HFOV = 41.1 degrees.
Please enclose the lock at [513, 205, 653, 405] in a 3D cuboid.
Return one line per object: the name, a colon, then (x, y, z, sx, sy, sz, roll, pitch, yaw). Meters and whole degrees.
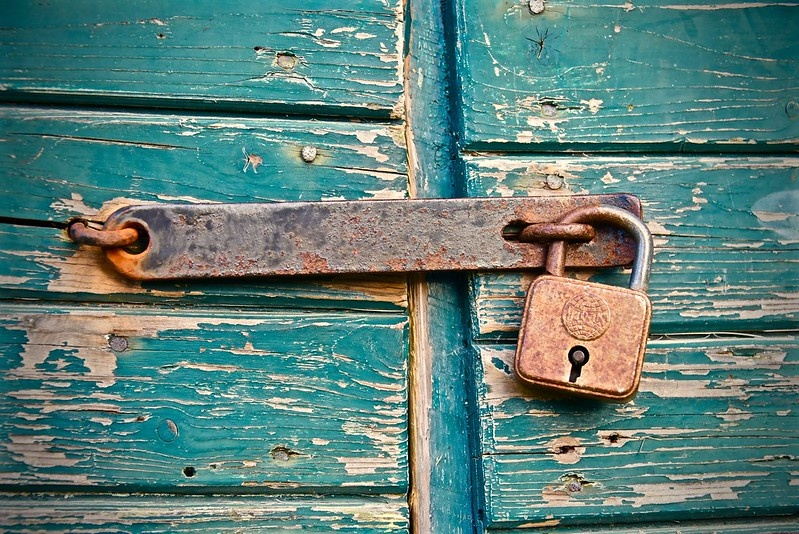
lock: (0.350, 0.063, 2.033, 0.240, 0.298, 0.279, 4, -49, -3)
